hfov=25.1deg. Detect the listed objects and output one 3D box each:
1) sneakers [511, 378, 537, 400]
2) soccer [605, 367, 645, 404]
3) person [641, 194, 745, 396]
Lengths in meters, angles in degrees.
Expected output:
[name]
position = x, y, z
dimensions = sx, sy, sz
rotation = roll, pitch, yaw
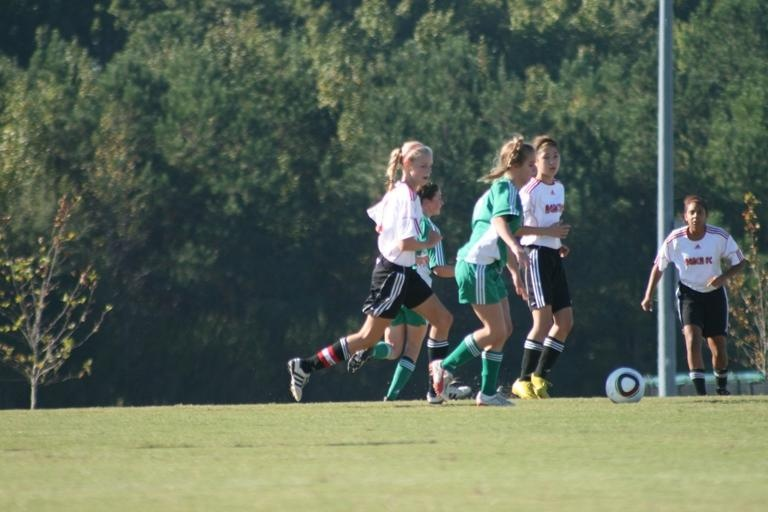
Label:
[sneakers]
position = 2.112, 2.009, 26.020
dimensions = 0.356, 0.231, 0.224
rotation = 5, -2, 27
[soccer]
position = 3.601, 1.955, 25.552
dimensions = 0.602, 0.696, 0.610
rotation = 1, -15, -1
[person]
position = 4.861, 0.617, 26.520
dimensions = 1.355, 3.094, 0.993
rotation = 1, 7, 11
